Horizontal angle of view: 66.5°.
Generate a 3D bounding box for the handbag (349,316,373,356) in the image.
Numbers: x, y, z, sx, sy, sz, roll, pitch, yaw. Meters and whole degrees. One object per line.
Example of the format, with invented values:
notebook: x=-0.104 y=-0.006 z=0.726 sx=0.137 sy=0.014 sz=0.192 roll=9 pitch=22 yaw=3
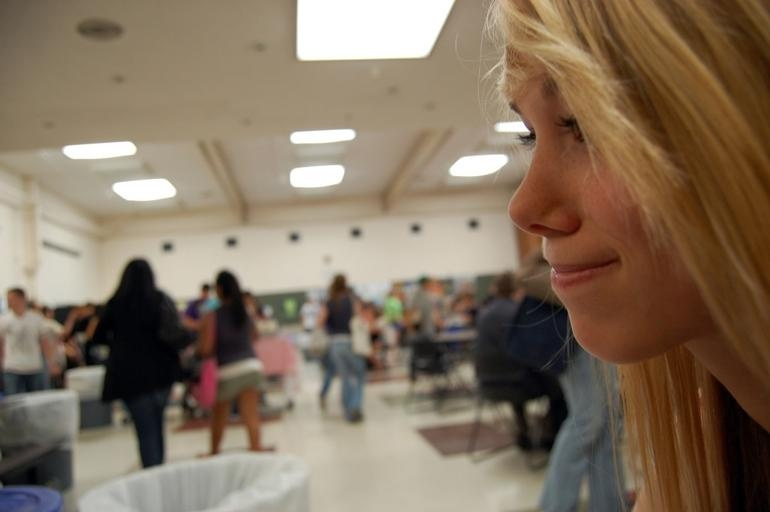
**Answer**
handbag: x=-0.071 y=0.238 z=1.741 sx=0.063 sy=0.116 sz=0.031 roll=-3 pitch=6 yaw=14
